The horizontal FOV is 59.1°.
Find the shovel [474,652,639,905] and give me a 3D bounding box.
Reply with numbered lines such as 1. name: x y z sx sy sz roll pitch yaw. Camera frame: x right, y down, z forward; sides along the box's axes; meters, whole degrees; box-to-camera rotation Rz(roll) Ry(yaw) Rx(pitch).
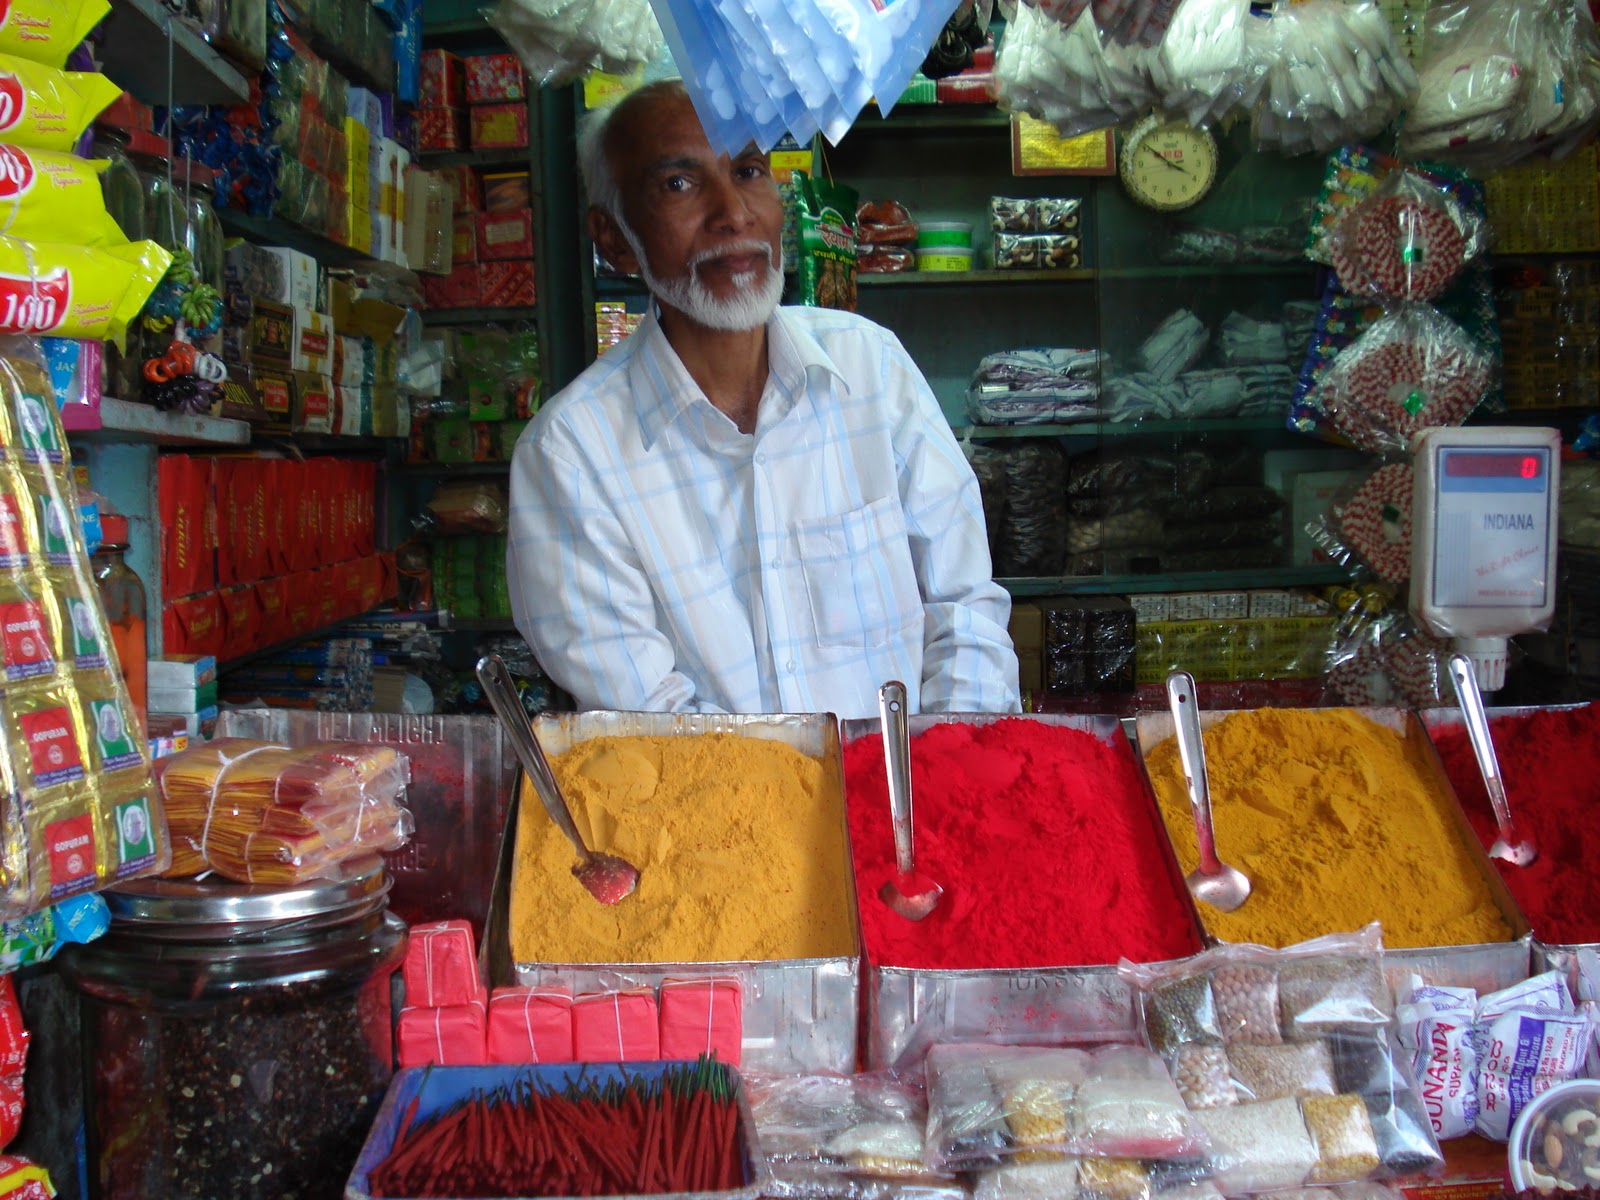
1. shovel: -0.273 0.186 1.511 0.128 0.255 0.207 -5 4 -32

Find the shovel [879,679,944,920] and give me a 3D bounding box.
1. shovel: 0.122 0.209 1.565 0.063 0.237 0.196 -2 3 5

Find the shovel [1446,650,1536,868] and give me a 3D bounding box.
1. shovel: 0.799 0.176 1.644 0.076 0.226 0.218 -2 4 19

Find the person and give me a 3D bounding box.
1. person: -0.072 -0.309 2.264 0.817 1.020 0.368 -3 3 -7

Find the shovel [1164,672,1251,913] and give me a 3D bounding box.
1. shovel: 0.457 0.199 1.585 0.080 0.241 0.237 -2 4 15

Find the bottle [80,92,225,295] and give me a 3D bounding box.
1. bottle: -1.018 -0.657 2.238 0.112 0.216 0.566 -4 4 -16
